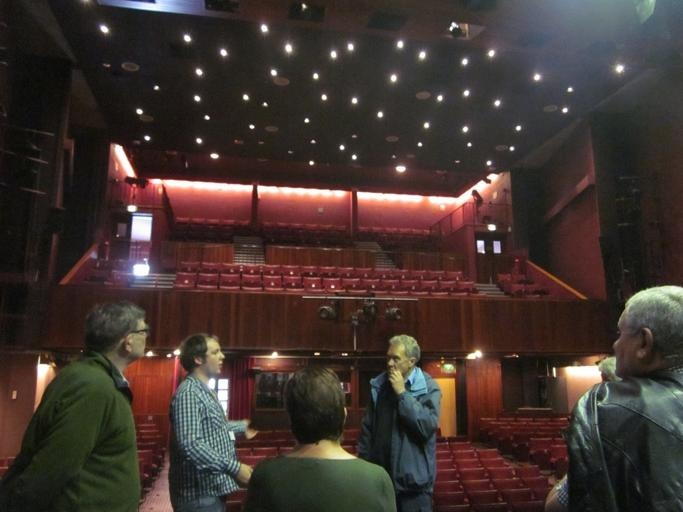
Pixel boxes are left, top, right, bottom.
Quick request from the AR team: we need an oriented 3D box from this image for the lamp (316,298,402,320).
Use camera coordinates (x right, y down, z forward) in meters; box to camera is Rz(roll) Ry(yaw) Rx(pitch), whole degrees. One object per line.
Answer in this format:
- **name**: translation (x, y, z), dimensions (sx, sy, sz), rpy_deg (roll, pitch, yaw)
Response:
- **lamp**: translation (0.355, 0.958, 9.691), dimensions (1.063, 0.408, 0.622), rpy_deg (0, 2, -3)
